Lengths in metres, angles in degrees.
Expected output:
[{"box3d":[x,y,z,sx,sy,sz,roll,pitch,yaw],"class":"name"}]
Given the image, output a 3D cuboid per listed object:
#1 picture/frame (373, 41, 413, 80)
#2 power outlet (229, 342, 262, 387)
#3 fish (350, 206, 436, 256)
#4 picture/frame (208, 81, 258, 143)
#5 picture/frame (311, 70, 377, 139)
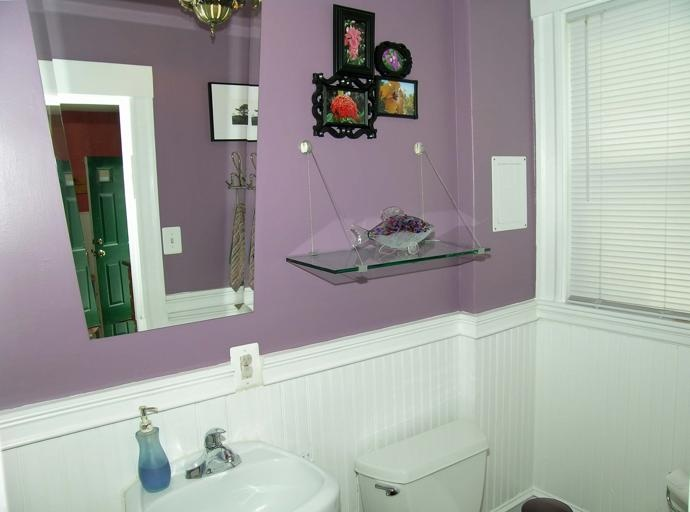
[{"box3d":[0.191,-0.798,2.200,0.155,0.141,0.020,-4,6,-30],"class":"picture/frame"},{"box3d":[-0.369,0.394,1.976,0.133,0.195,0.019,-7,5,-35],"class":"power outlet"},{"box3d":[0.209,-0.110,2.181,0.353,0.213,0.151,0,0,-19],"class":"fish"},{"box3d":[-0.401,-0.510,1.889,0.020,0.152,0.197,9,14,43],"class":"picture/frame"},{"box3d":[-0.014,-0.596,2.107,0.257,0.241,0.014,-4,6,-36],"class":"picture/frame"}]
